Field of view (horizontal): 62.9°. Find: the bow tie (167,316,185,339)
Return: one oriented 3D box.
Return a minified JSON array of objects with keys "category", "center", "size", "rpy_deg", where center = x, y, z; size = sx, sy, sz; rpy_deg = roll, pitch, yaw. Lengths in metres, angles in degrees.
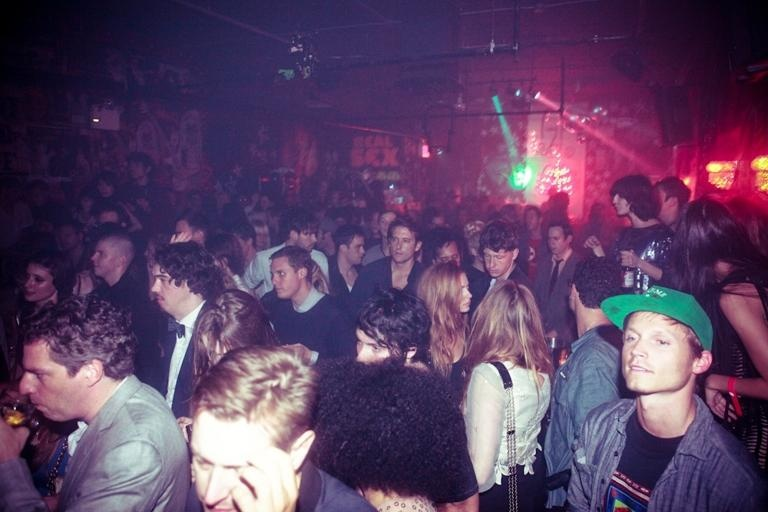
[{"category":"bow tie","center":[-2.129,0.761,6.530],"size":[0.165,0.083,0.221],"rpy_deg":[17,-38,0]}]

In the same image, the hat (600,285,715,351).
[{"category":"hat","center":[2.415,0.528,5.526],"size":[0.798,0.298,0.563],"rpy_deg":[23,-15,20]}]
